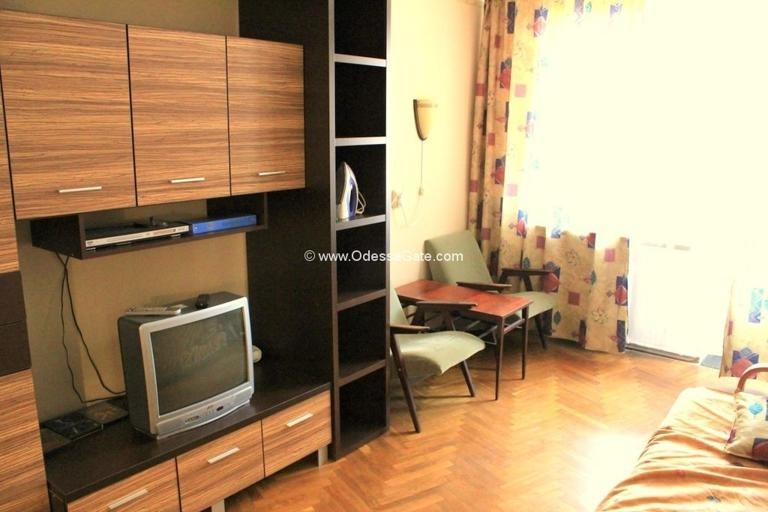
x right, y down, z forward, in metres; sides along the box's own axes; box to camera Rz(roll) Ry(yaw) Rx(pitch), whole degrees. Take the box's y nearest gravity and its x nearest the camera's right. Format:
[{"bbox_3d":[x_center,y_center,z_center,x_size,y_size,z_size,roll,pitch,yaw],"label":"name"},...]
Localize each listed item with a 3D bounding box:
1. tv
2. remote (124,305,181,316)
[{"bbox_3d":[-1.169,0.650,3.369,0.427,0.704,0.753,2,10,33],"label":"tv"},{"bbox_3d":[-1.272,0.303,3.137,0.188,0.030,0.110,2,4,-7],"label":"remote"}]
